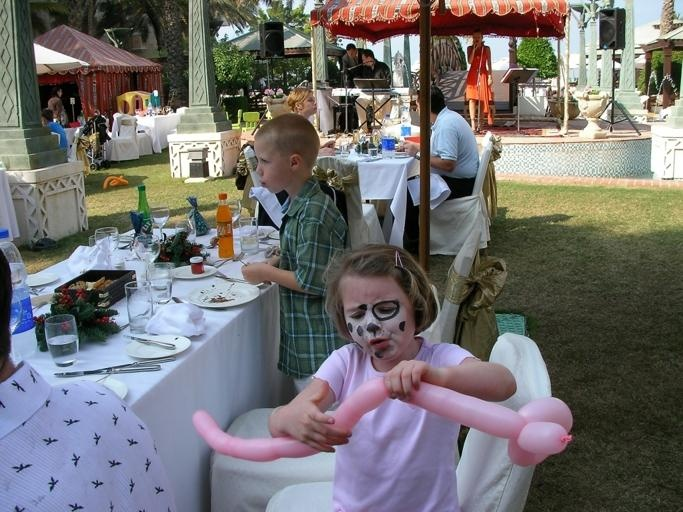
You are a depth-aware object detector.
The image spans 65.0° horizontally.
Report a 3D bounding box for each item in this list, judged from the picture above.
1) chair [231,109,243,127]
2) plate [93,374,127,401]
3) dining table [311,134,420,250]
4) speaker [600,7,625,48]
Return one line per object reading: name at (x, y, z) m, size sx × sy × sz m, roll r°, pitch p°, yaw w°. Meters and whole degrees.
chair at (-4.832, -6.399, 24.923) m, size 0.409 × 0.767 × 3.399 m, roll -7°, pitch 15°, yaw -10°
plate at (-0.642, 0.368, 1.488) m, size 0.101 × 0.016 × 0.104 m, roll 27°, pitch 13°, yaw -26°
dining table at (0.340, -0.729, 4.991) m, size 1.045 × 0.636 × 0.894 m, roll 8°, pitch 31°, yaw 17°
speaker at (6.202, -5.194, 12.262) m, size 0.533 × 0.918 × 0.629 m, roll 3°, pitch 15°, yaw 27°
